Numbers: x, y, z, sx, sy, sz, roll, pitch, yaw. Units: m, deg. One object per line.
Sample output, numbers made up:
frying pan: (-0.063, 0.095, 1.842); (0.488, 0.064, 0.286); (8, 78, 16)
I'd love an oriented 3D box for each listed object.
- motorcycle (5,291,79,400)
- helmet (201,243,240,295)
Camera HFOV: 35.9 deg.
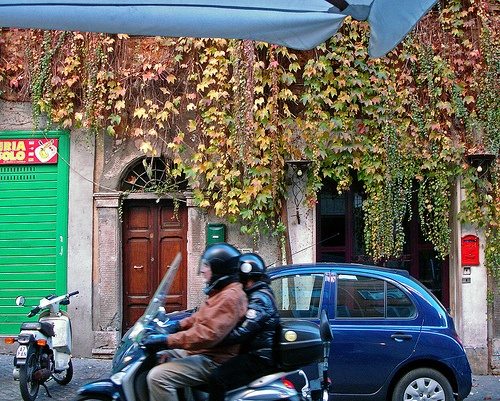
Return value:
motorcycle: (-2.922, 2.082, 11.129); (0.463, 1.534, 1.114); (-4, -10, 16)
helmet: (-0.301, 0.754, 8.707); (0.557, 0.531, 0.405); (1, 0, 2)
